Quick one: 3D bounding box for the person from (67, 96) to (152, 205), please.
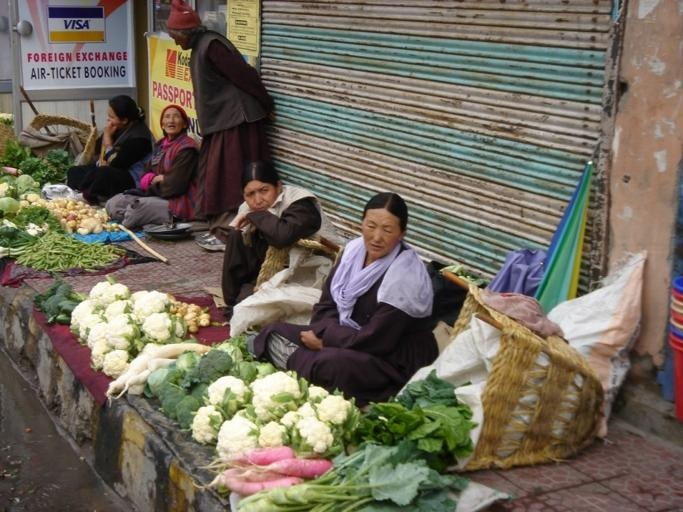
[{"bbox_3d":[-3.772,-1.635,8.503,1.237,1.887,1.068,5,24,16],"label":"person"}]

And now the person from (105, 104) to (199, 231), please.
[{"bbox_3d":[-2.765,-1.154,7.770,1.254,1.987,1.239,7,19,13],"label":"person"}]

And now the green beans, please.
[{"bbox_3d":[-3.127,-0.014,6.191,1.091,0.281,0.650,2,13,-23],"label":"green beans"}]

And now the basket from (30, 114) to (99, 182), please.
[{"bbox_3d":[-4.882,-1.901,9.459,1.410,0.635,1.104,19,26,34],"label":"basket"}]

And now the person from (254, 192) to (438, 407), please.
[{"bbox_3d":[-0.028,0.344,3.933,1.050,1.603,0.901,-4,8,-36],"label":"person"}]

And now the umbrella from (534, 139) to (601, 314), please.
[{"bbox_3d":[1.628,-0.169,3.891,0.240,1.074,0.252,18,-7,-42],"label":"umbrella"}]
